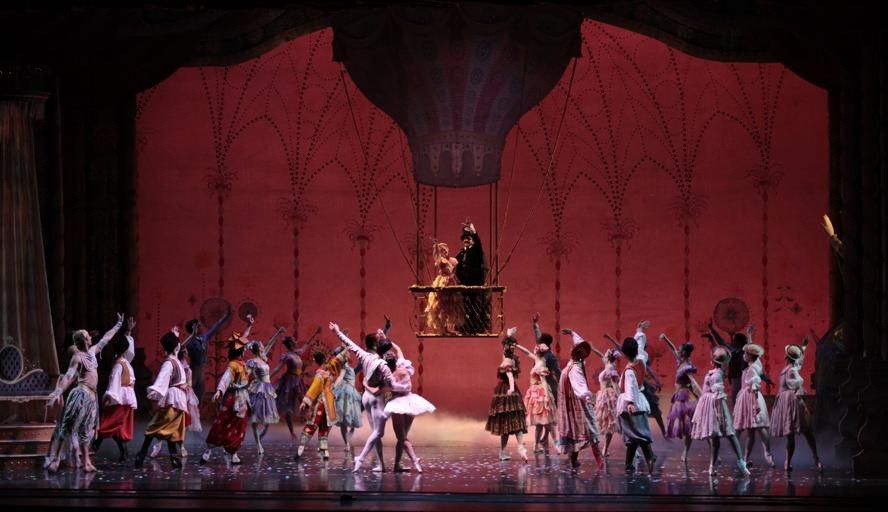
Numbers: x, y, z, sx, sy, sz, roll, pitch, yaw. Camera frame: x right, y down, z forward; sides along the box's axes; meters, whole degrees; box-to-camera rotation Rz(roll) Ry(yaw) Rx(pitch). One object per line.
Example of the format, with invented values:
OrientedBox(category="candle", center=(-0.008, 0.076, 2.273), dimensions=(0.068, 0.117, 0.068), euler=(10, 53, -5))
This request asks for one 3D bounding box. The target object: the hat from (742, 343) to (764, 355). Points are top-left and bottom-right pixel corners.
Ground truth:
OrientedBox(category="hat", center=(3.898, 1.173, 10.711), dimensions=(0.196, 0.178, 0.250), euler=(-7, -17, 23))

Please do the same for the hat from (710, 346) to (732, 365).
OrientedBox(category="hat", center=(3.406, 1.222, 10.517), dimensions=(0.241, 0.202, 0.194), euler=(-6, -9, 43))

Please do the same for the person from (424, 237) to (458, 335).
OrientedBox(category="person", center=(-0.036, 0.375, 10.584), dimensions=(0.413, 1.259, 0.744), euler=(0, -15, -1))
